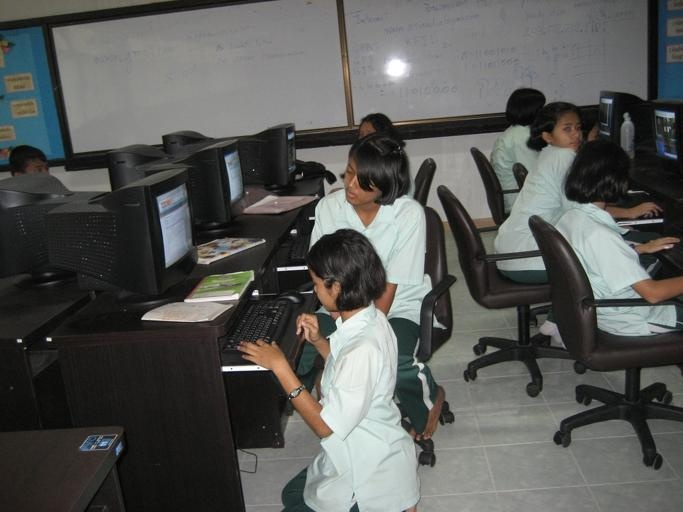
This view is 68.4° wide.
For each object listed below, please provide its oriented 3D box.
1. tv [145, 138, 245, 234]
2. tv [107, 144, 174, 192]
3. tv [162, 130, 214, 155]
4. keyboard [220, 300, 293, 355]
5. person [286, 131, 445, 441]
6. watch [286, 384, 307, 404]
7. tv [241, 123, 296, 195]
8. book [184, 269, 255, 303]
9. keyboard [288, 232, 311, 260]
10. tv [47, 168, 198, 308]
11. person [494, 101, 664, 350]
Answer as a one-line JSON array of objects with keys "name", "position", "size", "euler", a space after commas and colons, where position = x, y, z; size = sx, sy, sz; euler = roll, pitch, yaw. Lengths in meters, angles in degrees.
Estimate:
[{"name": "tv", "position": [-0.830, -0.442, 3.116], "size": [0.370, 0.506, 0.596], "euler": [-6, 20, -6]}, {"name": "tv", "position": [-1.276, -0.580, 3.122], "size": [0.363, 0.229, 0.366], "euler": [-1, 16, -1]}, {"name": "tv", "position": [-1.161, -0.863, 3.764], "size": [0.395, 0.137, 0.280], "euler": [-8, 14, -18]}, {"name": "keyboard", "position": [-0.318, 0.295, 1.998], "size": [0.076, 0.216, 0.528], "euler": [21, -20, -32]}, {"name": "person", "position": [0.079, 0.178, 2.356], "size": [0.784, 1.413, 0.767], "euler": [-6, 15, -10]}, {"name": "watch", "position": [-0.152, 0.446, 1.660], "size": [0.061, 0.037, 0.058], "euler": [-18, -17, -45]}, {"name": "tv", "position": [-0.567, -0.842, 4.201], "size": [0.560, 0.471, 0.537], "euler": [-14, 22, -38]}, {"name": "book", "position": [-0.493, 0.128, 2.054], "size": [0.227, 0.030, 0.323], "euler": [-1, 16, 7]}, {"name": "keyboard", "position": [-0.258, -0.048, 3.074], "size": [0.128, 0.068, 0.299], "euler": [2, 28, 0]}, {"name": "tv", "position": [-0.869, -0.104, 2.088], "size": [0.639, 0.495, 0.566], "euler": [-13, 25, -30]}, {"name": "person", "position": [1.358, -0.144, 2.978], "size": [0.873, 1.430, 0.620], "euler": [2, -4, 16]}]
